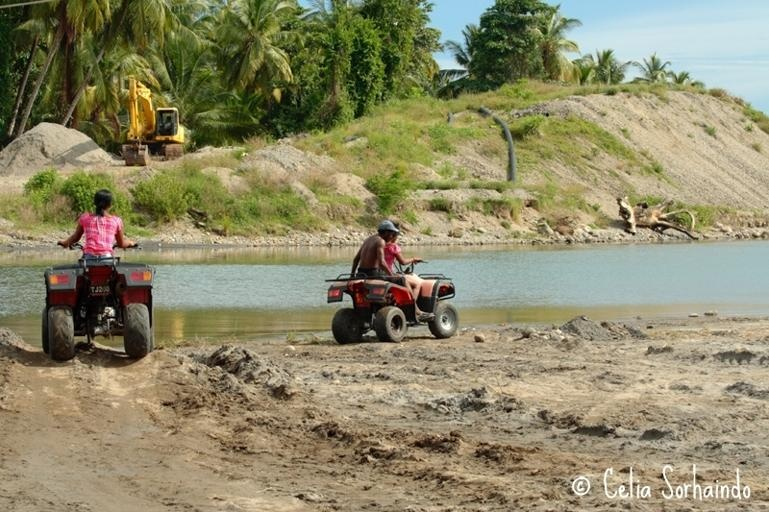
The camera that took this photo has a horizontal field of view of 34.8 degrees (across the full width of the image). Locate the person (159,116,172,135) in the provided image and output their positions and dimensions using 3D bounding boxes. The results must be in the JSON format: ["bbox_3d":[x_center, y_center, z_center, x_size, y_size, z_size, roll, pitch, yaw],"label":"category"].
[{"bbox_3d":[-9.912,-5.886,55.155,0.665,0.821,0.176,6,11,18],"label":"person"}]

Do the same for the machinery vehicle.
[{"bbox_3d":[-10.973,-5.777,55.293,2.356,2.751,4.643,0,0,9],"label":"machinery vehicle"}]

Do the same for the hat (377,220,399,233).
[{"bbox_3d":[0.126,-0.826,34.371,0.490,0.234,0.335,3,9,-22],"label":"hat"}]
